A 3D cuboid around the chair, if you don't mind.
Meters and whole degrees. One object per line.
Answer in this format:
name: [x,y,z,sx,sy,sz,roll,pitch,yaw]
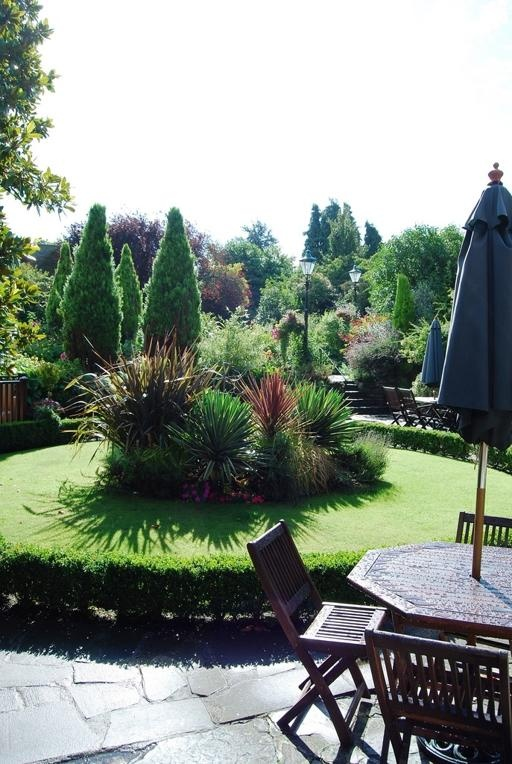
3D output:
chair: [0.609,1.137,2.874,0.860,1.354,0.667,-5,0,22]
